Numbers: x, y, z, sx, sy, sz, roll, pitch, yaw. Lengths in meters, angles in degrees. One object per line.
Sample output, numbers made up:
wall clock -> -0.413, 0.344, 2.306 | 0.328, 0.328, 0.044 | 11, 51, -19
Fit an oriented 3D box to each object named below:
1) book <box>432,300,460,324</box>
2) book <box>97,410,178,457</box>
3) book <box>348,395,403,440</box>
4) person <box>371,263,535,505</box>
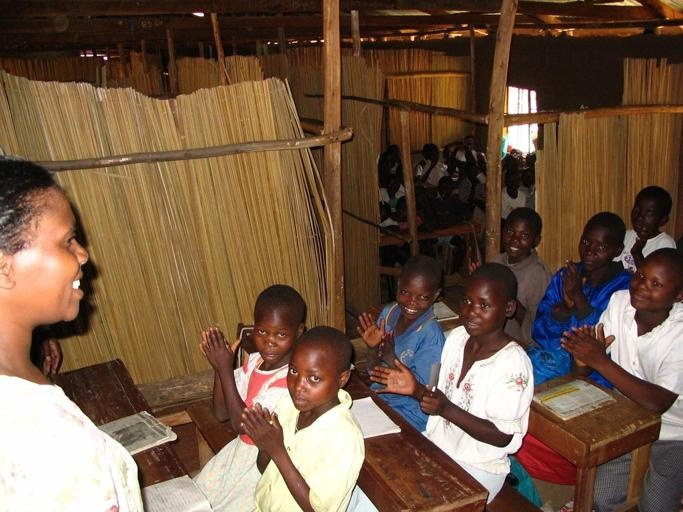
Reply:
book -> 0.683, 0.400, 3.261 | 0.143, 0.016, 0.212 | -5, 19, -7
book -> -0.766, 0.674, 1.854 | 0.248, 0.052, 0.238 | -7, 19, -41
book -> 0.125, 0.654, 1.948 | 0.127, 0.018, 0.203 | -6, 13, -16
person -> 0.507, 0.532, 2.133 | 0.605, 0.920, 0.487 | -1, 20, 19
